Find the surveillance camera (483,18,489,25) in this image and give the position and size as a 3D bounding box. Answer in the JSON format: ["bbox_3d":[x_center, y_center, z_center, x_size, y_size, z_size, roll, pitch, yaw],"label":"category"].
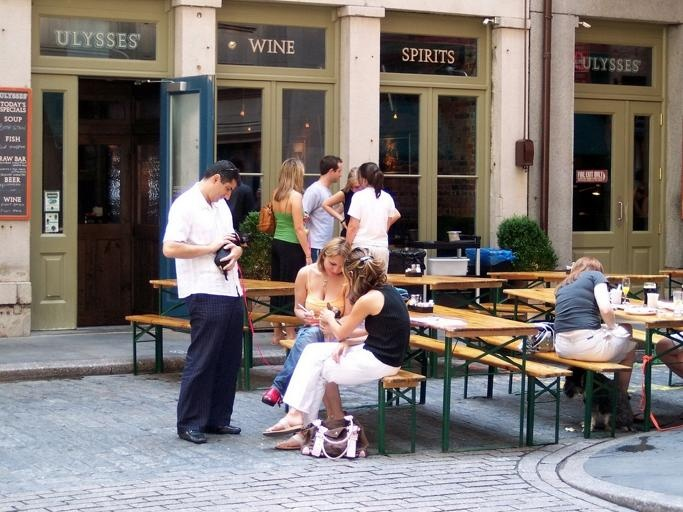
[{"bbox_3d":[2.210,-3.558,13.817,0.076,0.079,0.029,0,6,-3],"label":"surveillance camera"}]

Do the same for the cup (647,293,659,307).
[{"bbox_3d":[2.989,0.426,8.788,0.115,0.134,0.119,0,9,0],"label":"cup"}]

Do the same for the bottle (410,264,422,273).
[{"bbox_3d":[0.849,0.138,10.247,0.092,0.096,0.173,0,-4,3],"label":"bottle"}]

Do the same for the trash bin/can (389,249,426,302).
[{"bbox_3d":[0.826,0.211,12.185,0.518,0.887,0.535,4,3,16],"label":"trash bin/can"}]

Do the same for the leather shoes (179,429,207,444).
[{"bbox_3d":[-1.217,1.463,7.505,0.226,0.099,0.092,12,9,36],"label":"leather shoes"}]

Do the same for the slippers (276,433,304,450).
[{"bbox_3d":[-0.409,1.513,7.351,0.106,0.073,0.261,1,2,40],"label":"slippers"}]

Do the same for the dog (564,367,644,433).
[{"bbox_3d":[2.259,1.286,8.223,0.670,0.520,0.515,3,4,45],"label":"dog"}]

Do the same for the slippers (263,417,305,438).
[{"bbox_3d":[-0.471,1.429,7.598,0.373,0.112,0.149,-12,1,-13],"label":"slippers"}]

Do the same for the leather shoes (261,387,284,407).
[{"bbox_3d":[-0.586,1.206,7.856,0.097,0.116,0.271,9,8,0],"label":"leather shoes"}]

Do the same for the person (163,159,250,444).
[{"bbox_3d":[-1.144,0.364,7.606,0.660,2.306,0.452,-1,3,-18],"label":"person"}]

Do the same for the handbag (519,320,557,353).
[{"bbox_3d":[1.823,0.767,8.446,0.320,0.345,0.287,3,0,24],"label":"handbag"}]

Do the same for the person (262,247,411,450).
[{"bbox_3d":[0.019,0.763,7.390,1.074,1.618,0.549,0,3,3],"label":"person"}]

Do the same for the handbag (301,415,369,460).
[{"bbox_3d":[-0.056,1.434,7.258,0.518,0.318,0.263,-1,3,-2],"label":"handbag"}]

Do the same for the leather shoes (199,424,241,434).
[{"bbox_3d":[-1.015,1.449,7.756,0.293,0.091,0.110,-1,1,-2],"label":"leather shoes"}]

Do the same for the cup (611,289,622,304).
[{"bbox_3d":[2.743,0.404,9.081,0.127,0.144,0.125,3,2,0],"label":"cup"}]
